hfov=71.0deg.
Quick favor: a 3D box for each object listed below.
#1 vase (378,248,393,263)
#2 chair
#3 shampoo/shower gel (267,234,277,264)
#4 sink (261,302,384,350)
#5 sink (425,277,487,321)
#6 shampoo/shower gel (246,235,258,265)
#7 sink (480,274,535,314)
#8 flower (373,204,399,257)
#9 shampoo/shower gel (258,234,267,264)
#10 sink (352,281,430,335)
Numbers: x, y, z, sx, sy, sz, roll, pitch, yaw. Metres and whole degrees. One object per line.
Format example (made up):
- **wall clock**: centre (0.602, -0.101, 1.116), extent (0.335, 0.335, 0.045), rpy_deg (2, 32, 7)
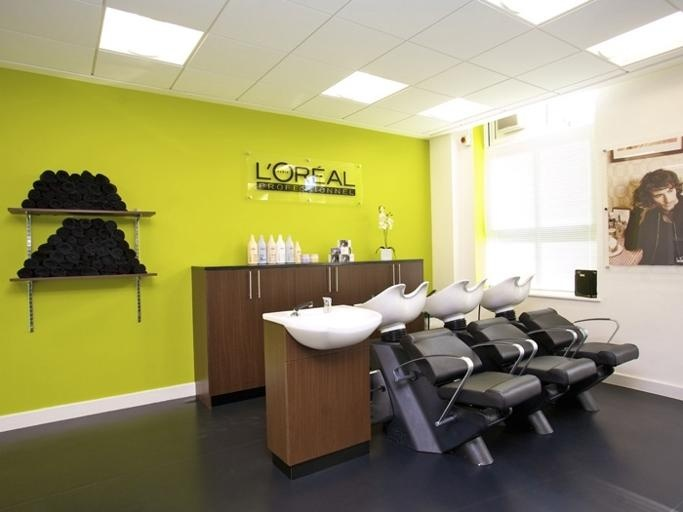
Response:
- **vase**: centre (0.603, -0.012, 6.407), extent (0.166, 0.162, 0.169), rpy_deg (-3, -5, 43)
- **chair**: centre (1.736, 1.089, 4.550), extent (2.288, 1.031, 0.944), rpy_deg (-8, 13, -29)
- **shampoo/shower gel**: centre (-0.802, -0.076, 5.603), extent (0.116, 0.296, 0.237), rpy_deg (-3, 12, -8)
- **sink**: centre (-0.139, 0.603, 3.831), extent (0.878, 0.335, 0.609), rpy_deg (-4, 12, -15)
- **sink**: centre (1.169, 0.449, 4.990), extent (0.657, 0.451, 0.604), rpy_deg (0, 0, 28)
- **shampoo/shower gel**: centre (-1.018, -0.074, 5.528), extent (0.126, 0.308, 0.363), rpy_deg (-3, 12, -11)
- **sink**: centre (1.835, 0.453, 5.416), extent (0.567, 0.408, 0.503), rpy_deg (-5, -13, 18)
- **flower**: centre (0.633, -0.302, 6.547), extent (0.253, 0.738, 0.627), rpy_deg (0, 12, 5)
- **shampoo/shower gel**: centre (-0.901, -0.073, 5.529), extent (0.108, 0.300, 0.207), rpy_deg (-3, 12, -10)
- **sink**: centre (0.521, 0.488, 4.673), extent (0.633, 0.484, 0.733), rpy_deg (0, -2, -11)
